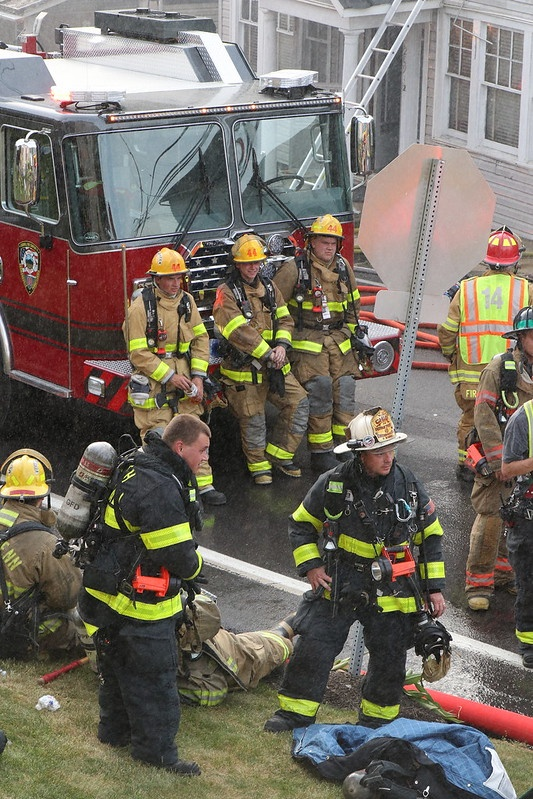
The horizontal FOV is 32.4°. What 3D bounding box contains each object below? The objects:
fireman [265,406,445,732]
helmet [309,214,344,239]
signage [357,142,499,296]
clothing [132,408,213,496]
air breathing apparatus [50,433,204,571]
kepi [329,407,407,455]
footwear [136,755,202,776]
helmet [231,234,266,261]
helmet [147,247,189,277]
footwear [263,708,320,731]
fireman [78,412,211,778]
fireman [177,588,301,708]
[{"bbox_3d":[0.377,0.697,3.574,0.679,1.333,0.377,4,12,11],"label":"fireman"},{"bbox_3d":[0.448,-1.309,6.919,0.186,0.128,0.234,1,6,-40],"label":"helmet"},{"bbox_3d":[0.602,-0.688,3.510,0.491,0.579,0.244,3,11,4],"label":"signage"},{"bbox_3d":[-0.642,0.325,6.168,0.475,0.720,0.214,-7,5,-38],"label":"clothing"},{"bbox_3d":[-0.545,0.375,3.408,0.518,0.443,0.363,4,25,-41],"label":"air breathing apparatus"},{"bbox_3d":[0.394,0.134,3.489,0.243,0.192,0.282,2,10,3],"label":"kepi"},{"bbox_3d":[-0.335,1.296,3.226,0.235,0.086,0.074,4,5,-3],"label":"footwear"},{"bbox_3d":[-0.126,-1.069,6.527,0.221,0.203,0.159,1,11,-5],"label":"helmet"},{"bbox_3d":[-0.636,-0.884,5.912,0.192,0.119,0.218,-1,10,-20],"label":"helmet"},{"bbox_3d":[0.100,1.270,3.659,0.220,0.082,0.075,-4,10,-9],"label":"footwear"},{"bbox_3d":[-0.446,0.705,3.278,0.446,1.282,0.414,1,11,-3],"label":"fireman"},{"bbox_3d":[-0.119,1.065,3.954,0.677,0.291,0.363,-7,9,-37],"label":"fireman"}]
